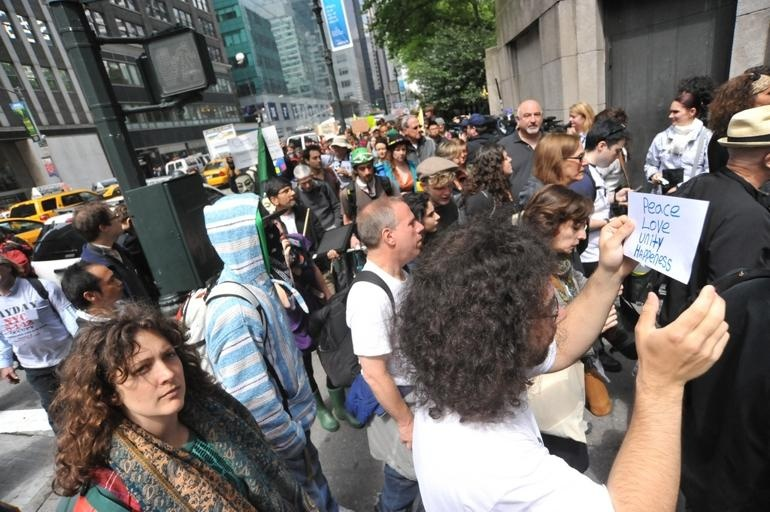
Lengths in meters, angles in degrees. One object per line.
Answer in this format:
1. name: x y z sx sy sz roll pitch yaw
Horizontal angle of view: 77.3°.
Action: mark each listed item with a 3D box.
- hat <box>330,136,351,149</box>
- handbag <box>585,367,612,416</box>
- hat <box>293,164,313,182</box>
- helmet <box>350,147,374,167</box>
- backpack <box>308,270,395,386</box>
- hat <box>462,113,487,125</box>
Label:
1. hat: -0.955 -2.483 10.524 0.512 0.255 0.508 3 17 -11
2. handbag: 1.930 1.238 4.371 0.202 0.465 0.214 -2 19 23
3. hat: -1.239 -1.254 7.366 0.227 0.279 0.279 0 50 -6
4. helmet: -0.334 -1.437 7.020 0.246 0.255 0.304 -13 30 -1
5. backpack: -0.438 0.719 4.342 0.388 0.795 0.851 -13 18 -11
6. hat: 1.921 -2.826 10.145 0.412 0.249 0.576 -5 21 -14
